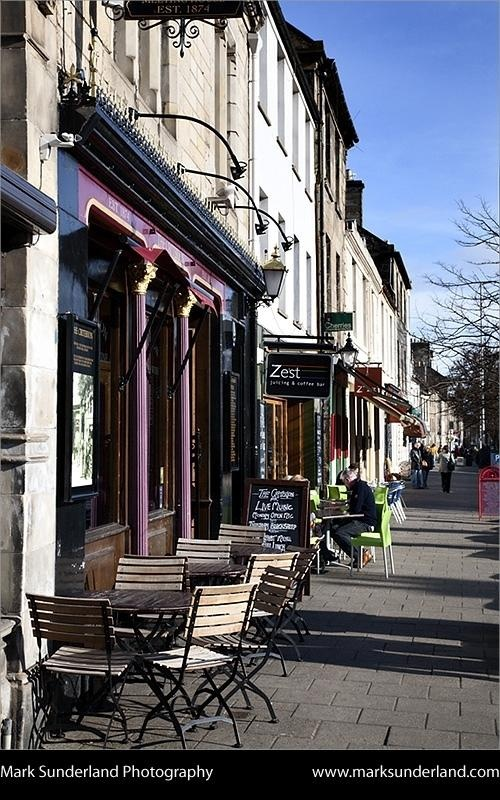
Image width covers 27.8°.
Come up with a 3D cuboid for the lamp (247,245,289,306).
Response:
[{"bbox_3d":[0.336,-1.591,12.639,0.270,0.705,0.270,5,-8,-29],"label":"lamp"}]

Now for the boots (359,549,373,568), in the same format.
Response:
[{"bbox_3d":[1.603,2.177,13.909,0.131,0.238,0.522,1,6,13],"label":"boots"}]
